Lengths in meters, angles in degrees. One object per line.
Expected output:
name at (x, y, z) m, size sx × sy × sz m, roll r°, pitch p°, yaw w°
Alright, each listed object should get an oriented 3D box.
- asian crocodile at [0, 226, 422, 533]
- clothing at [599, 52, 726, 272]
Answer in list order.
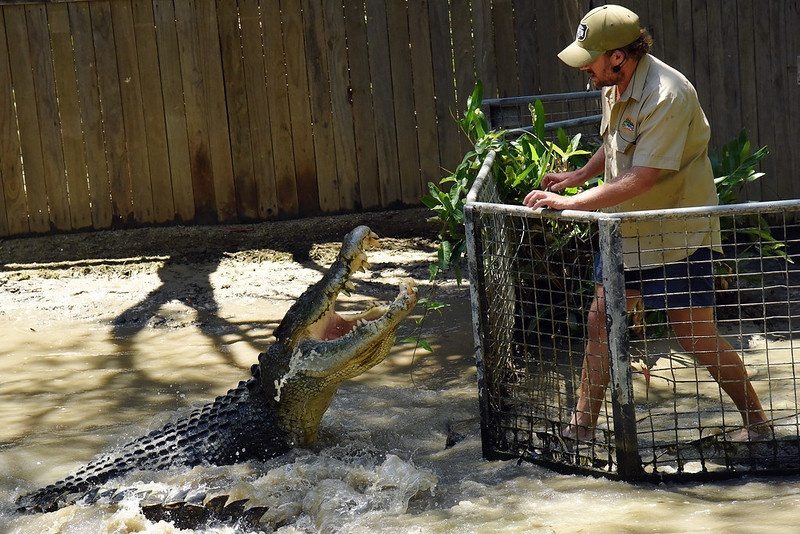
asian crocodile at (-1.713, 1.621, 12.129) m, size 4.522 × 3.076 × 1.696 m, roll -14°, pitch -18°, yaw 7°
clothing at (2.220, -0.877, 10.721) m, size 1.028 × 1.835 × 0.749 m, roll 2°, pitch 6°, yaw 9°
